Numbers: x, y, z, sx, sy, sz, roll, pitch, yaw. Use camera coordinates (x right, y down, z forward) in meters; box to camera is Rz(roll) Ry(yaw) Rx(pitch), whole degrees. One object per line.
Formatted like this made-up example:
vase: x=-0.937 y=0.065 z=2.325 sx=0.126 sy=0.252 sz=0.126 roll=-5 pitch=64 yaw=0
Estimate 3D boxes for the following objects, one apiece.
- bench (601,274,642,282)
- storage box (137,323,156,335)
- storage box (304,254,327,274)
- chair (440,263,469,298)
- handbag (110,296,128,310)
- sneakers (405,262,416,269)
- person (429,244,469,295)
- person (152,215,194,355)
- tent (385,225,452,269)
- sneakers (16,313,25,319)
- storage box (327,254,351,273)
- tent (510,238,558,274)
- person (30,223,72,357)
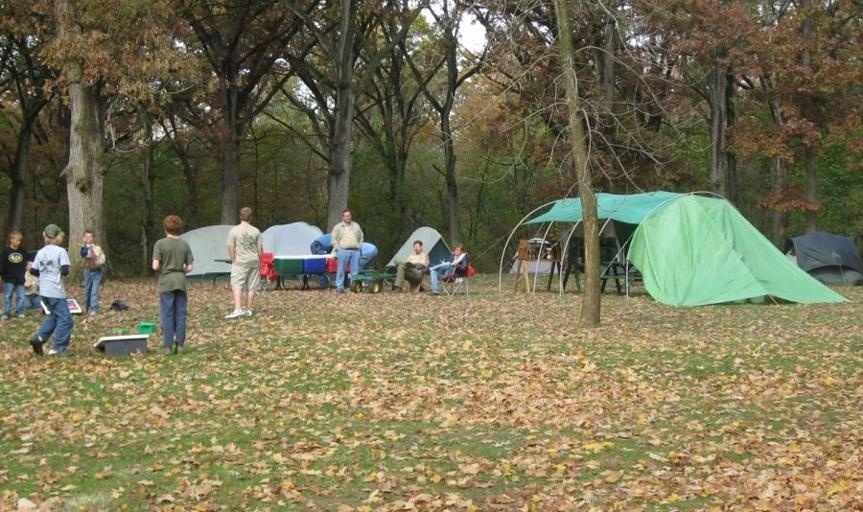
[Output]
bench: x=7.174 y=0.768 z=40.251 sx=1.425 sy=0.352 sz=2.695 roll=-1 pitch=-2 yaw=10
storage box: x=-8.461 y=2.123 z=31.703 sx=0.465 sy=0.274 sz=0.449 roll=0 pitch=-6 yaw=1
storage box: x=-4.508 y=0.329 z=41.182 sx=0.760 sy=0.482 sz=0.731 roll=-1 pitch=0 yaw=-8
chair: x=0.851 y=0.940 z=39.979 sx=1.112 sy=1.159 sz=1.268 roll=3 pitch=-6 yaw=-17
handbag: x=-10.526 y=1.631 z=35.653 sx=0.665 sy=0.360 sz=0.284 roll=28 pitch=-13 yaw=-22
sneakers: x=-0.800 y=0.334 z=39.878 sx=0.363 sy=0.134 sz=0.204 roll=4 pitch=-19 yaw=-28
person: x=0.600 y=0.470 z=39.616 sx=1.474 sy=1.813 sz=1.128 roll=2 pitch=-4 yaw=-15
person: x=-7.491 y=0.789 z=30.761 sx=1.020 sy=3.945 sz=0.886 roll=0 pitch=-1 yaw=-14
tent: x=-0.443 y=-0.479 z=43.564 sx=2.055 sy=0.915 sz=1.955 roll=-5 pitch=7 yaw=-23
sneakers: x=-13.341 y=1.933 z=34.627 sx=0.102 sy=0.114 sz=0.191 roll=3 pitch=-13 yaw=-43
storage box: x=-3.643 y=0.293 z=41.113 sx=1.135 sy=0.700 sz=0.666 roll=0 pitch=0 yaw=-28
tent: x=4.785 y=0.114 z=48.738 sx=2.487 sy=1.065 sz=2.412 roll=2 pitch=3 yaw=-16
person: x=-11.019 y=0.944 z=30.833 sx=1.115 sy=3.702 sz=0.982 roll=0 pitch=-2 yaw=-20
